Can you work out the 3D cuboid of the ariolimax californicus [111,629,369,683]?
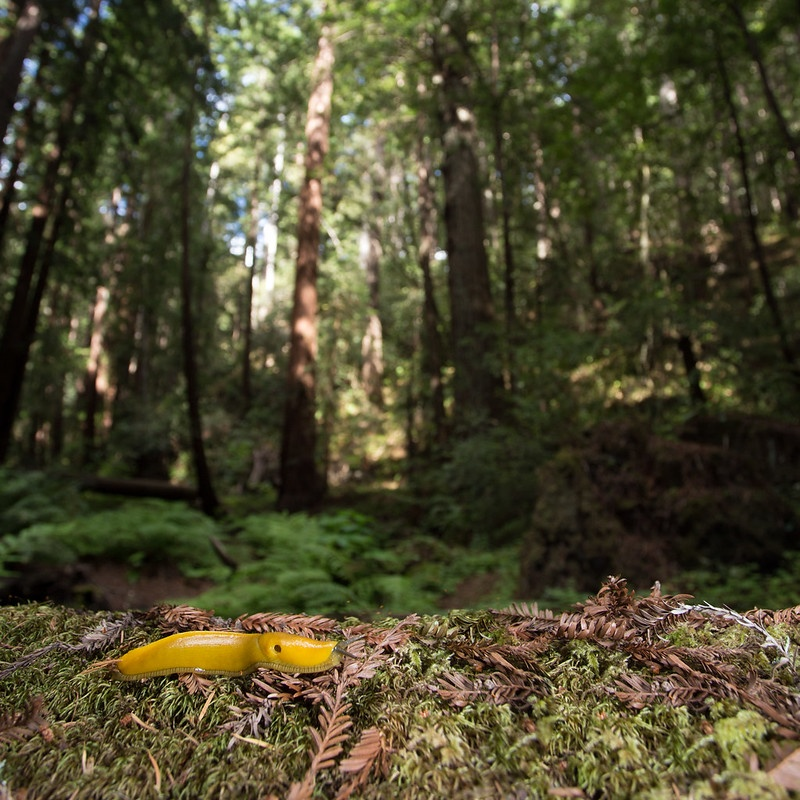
[{"bbox_3d":[-0.449,0.856,2.410,1.048,0.176,0.255,-1,-7,2],"label":"ariolimax californicus"}]
